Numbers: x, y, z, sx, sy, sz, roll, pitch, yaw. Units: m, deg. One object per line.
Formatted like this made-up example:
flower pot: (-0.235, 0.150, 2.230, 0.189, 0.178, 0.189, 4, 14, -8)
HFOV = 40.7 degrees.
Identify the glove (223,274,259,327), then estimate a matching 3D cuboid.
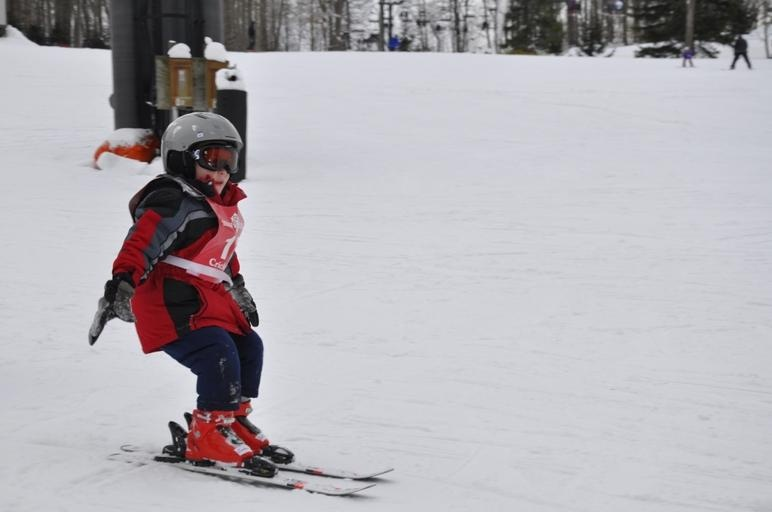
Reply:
glove: (-1.494, 0.488, 10.761, 0.197, 0.529, 0.325, -27, 18, 43)

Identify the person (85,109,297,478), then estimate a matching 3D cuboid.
person: (-1.862, 0.380, 10.308, 1.611, 3.531, 0.726, 1, 9, -6)
